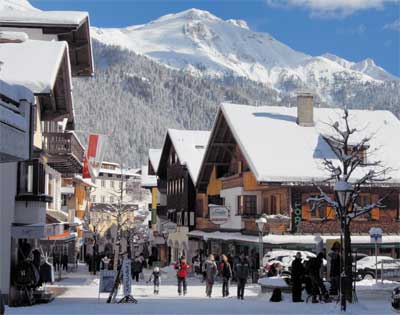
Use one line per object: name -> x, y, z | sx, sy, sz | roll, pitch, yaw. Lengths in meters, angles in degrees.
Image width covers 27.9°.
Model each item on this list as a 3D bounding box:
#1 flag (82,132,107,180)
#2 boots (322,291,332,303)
flag -> -6.317, -0.001, 48.517 | 1.214, 3.840, 0.451 | 15, -42, -13
boots -> 5.781, 6.354, 36.541 | 0.531, 0.523, 0.336 | 11, -15, -43
